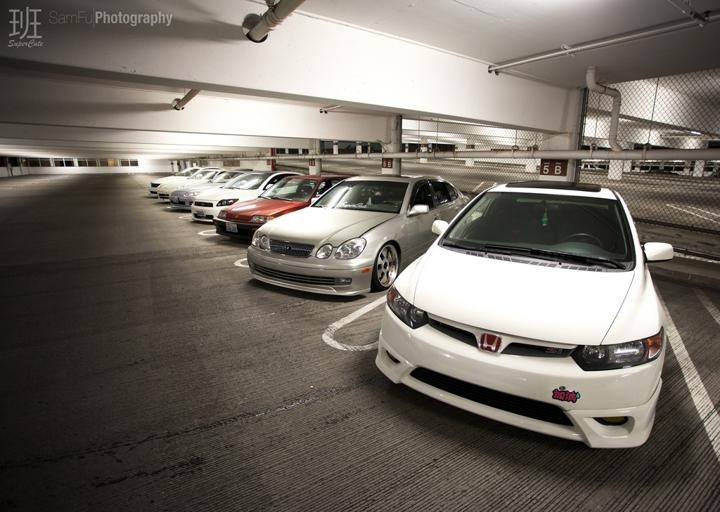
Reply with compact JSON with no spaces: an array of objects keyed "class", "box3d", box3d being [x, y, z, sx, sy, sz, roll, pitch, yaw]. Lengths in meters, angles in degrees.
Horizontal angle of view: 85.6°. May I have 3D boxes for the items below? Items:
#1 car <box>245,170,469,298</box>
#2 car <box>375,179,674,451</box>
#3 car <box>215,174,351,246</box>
[{"class":"car","box3d":[0.349,-0.536,6.169,1.542,1.010,3.511,11,17,40]},{"class":"car","box3d":[2.086,-0.017,4.550,2.338,1.677,4.163,8,21,32]},{"class":"car","box3d":[-1.364,-1.076,8.357,2.928,0.906,1.265,-15,18,-39]}]
